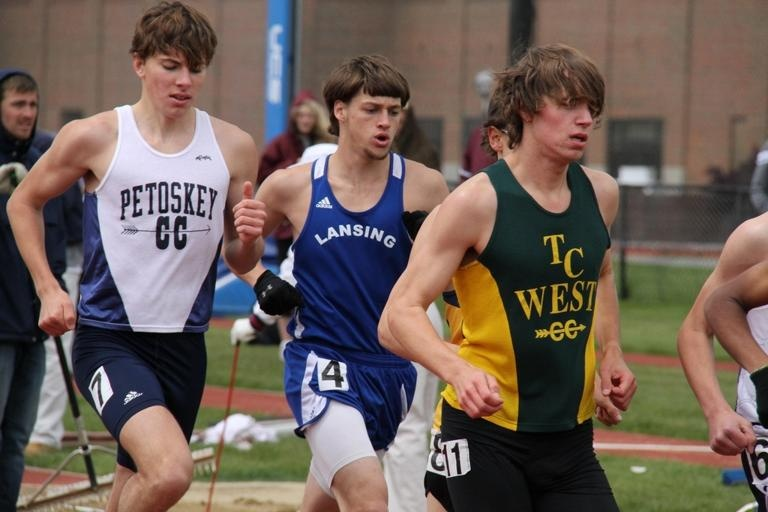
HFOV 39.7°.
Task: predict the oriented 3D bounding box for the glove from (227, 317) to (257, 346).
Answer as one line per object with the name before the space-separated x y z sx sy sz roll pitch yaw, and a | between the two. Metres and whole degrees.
glove | -1.133 0.602 8.617 0.223 0.124 0.321 0 0 -9

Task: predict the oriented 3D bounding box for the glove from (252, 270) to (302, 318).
glove | -0.637 0.225 6.411 0.277 0.247 0.309 -1 7 -10
